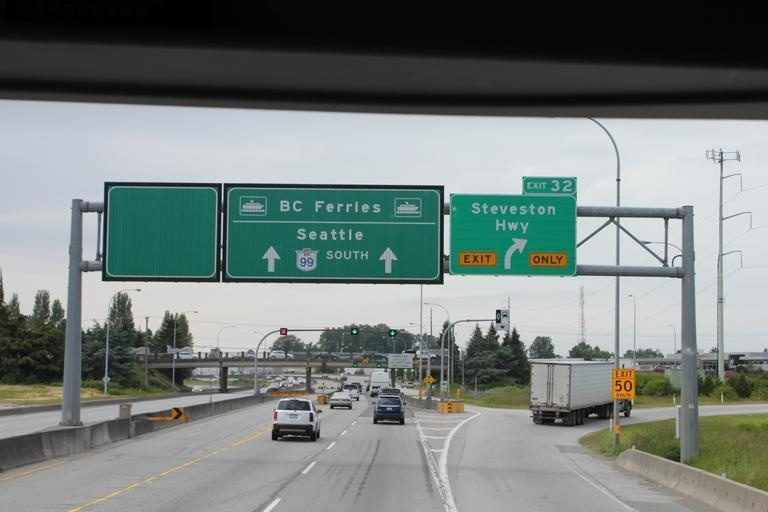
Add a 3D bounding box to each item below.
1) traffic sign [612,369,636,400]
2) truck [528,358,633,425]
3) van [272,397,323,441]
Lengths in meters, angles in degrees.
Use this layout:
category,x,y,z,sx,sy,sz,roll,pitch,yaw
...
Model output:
category,x,y,z,sx,sy,sz,roll,pitch,yaw
traffic sign,10.121,5.367,45.512,0.902,1.234,1.642,-2,-9,10
truck,12.305,8.020,64.667,2.608,3.920,8.799,1,-1,39
van,-3.974,7.463,49.771,2.031,1.923,4.230,3,-5,1
